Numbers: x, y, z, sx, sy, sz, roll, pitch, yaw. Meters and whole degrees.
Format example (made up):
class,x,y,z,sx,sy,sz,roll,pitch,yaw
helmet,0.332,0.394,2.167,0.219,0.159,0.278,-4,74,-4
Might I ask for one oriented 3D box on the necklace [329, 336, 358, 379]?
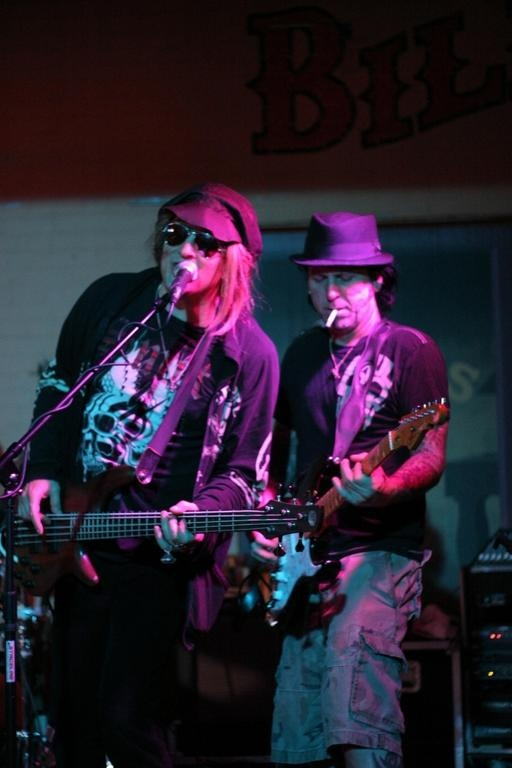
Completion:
class,x,y,z,sx,sy,sz,roll,pitch,yaw
necklace,0.294,-0.090,3.039,0.082,0.119,0.032,4,-42,25

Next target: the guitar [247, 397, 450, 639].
class,x,y,z,sx,sy,sz,roll,pitch,yaw
guitar,0.312,0.381,2.674,0.382,0.668,0.800,9,-15,-38
